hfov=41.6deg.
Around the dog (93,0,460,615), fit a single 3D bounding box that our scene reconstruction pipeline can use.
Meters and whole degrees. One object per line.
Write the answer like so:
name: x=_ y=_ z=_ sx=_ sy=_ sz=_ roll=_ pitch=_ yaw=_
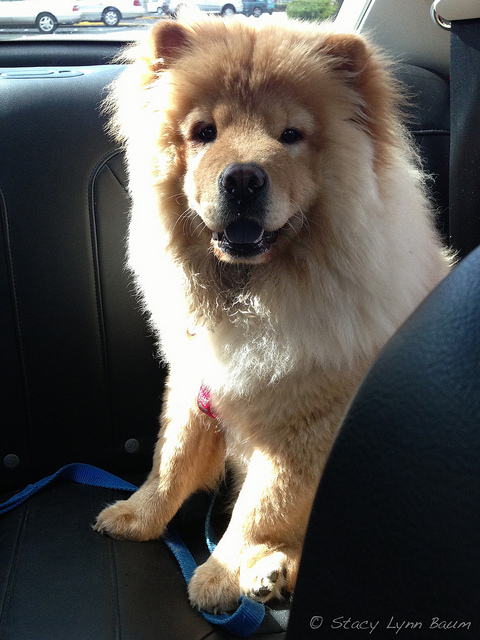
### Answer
dog: x=0.020 y=-0.019 z=1.669 sx=0.842 sy=1.250 sz=1.080 roll=17 pitch=47 yaw=25
